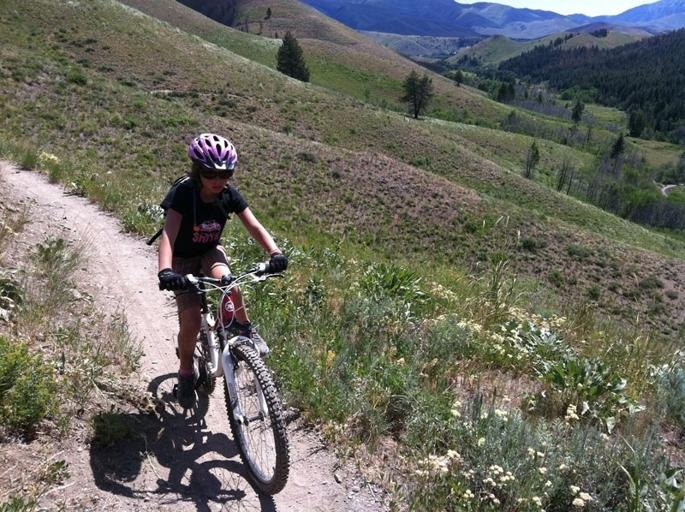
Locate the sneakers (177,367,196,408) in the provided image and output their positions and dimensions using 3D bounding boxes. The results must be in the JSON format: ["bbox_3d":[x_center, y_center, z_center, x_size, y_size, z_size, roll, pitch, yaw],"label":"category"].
[{"bbox_3d":[-2.235,1.912,8.857,0.174,0.671,0.231,-1,-16,-32],"label":"sneakers"}]

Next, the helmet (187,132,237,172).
[{"bbox_3d":[-1.825,-1.432,8.462,0.406,0.293,0.641,0,35,-35],"label":"helmet"}]

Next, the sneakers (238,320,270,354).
[{"bbox_3d":[-1.247,1.153,8.675,0.168,0.231,0.528,-32,62,-12],"label":"sneakers"}]

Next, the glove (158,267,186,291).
[{"bbox_3d":[-2.271,0.346,8.190,0.335,0.300,0.310,7,18,-28],"label":"glove"}]
